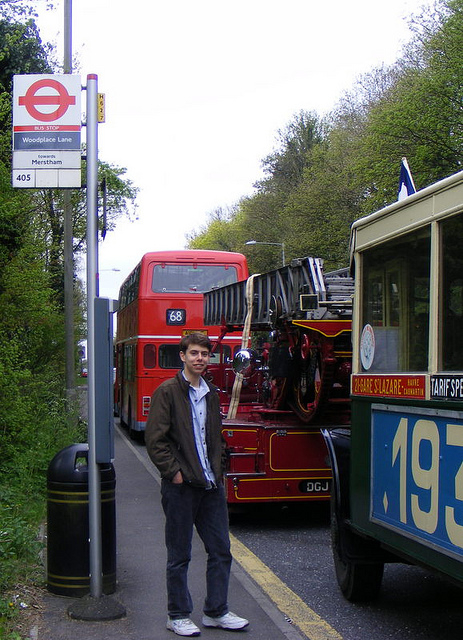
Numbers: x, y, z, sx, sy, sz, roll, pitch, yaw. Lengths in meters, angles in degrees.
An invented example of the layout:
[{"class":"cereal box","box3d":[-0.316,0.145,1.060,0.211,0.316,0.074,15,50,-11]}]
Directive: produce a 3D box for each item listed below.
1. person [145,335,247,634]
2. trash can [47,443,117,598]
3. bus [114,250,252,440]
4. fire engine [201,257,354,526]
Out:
[{"class":"person","box3d":[-0.204,0.903,3.412,0.545,1.638,0.303,-1,1,-15]},{"class":"trash can","box3d":[-1.023,1.320,4.335,0.504,0.992,0.560,-1,-1,27]},{"class":"bus","box3d":[-2.140,0.698,19.132,3.337,4.796,8.850,1,-2,-16]},{"class":"fire engine","box3d":[0.714,0.790,8.219,1.514,2.267,4.333,0,-5,-12]}]
